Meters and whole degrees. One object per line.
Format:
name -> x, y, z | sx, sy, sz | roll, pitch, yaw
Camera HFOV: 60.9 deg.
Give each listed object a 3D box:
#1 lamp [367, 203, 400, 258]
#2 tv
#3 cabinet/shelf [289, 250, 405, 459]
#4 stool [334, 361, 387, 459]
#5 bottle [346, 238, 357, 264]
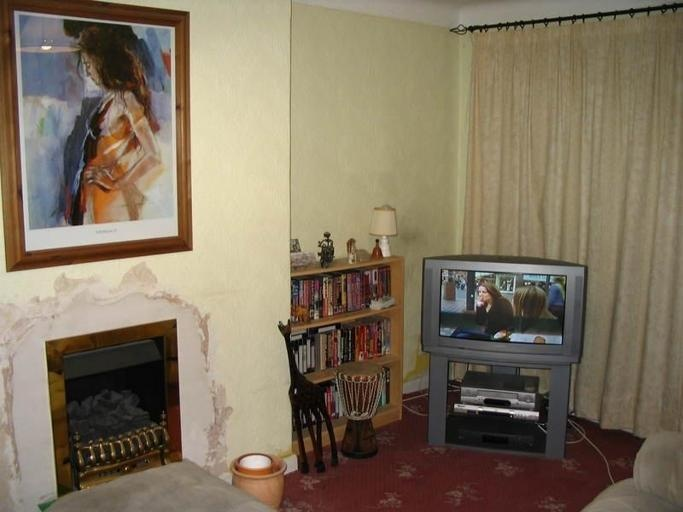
lamp -> 0.331, -0.204, 4.700 | 0.204, 0.423, 0.438 | 1, 13, 3
tv -> 1.186, 0.426, 4.191 | 1.237, 0.939, 0.724 | 2, 6, 11
cabinet/shelf -> 0.008, 0.739, 4.352 | 0.379, 1.293, 1.324 | 2, 5, 38
stool -> 0.137, 1.123, 4.344 | 0.501, 0.845, 0.548 | -1, 4, -3
bottle -> 0.081, -0.042, 4.520 | 0.069, 0.176, 0.187 | 1, 13, 2
